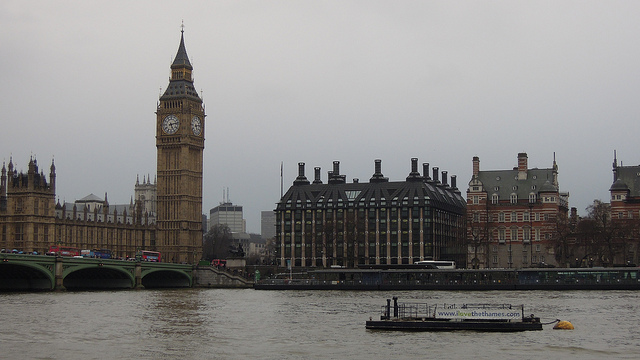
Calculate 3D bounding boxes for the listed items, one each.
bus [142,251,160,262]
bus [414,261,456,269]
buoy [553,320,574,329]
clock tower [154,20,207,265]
[{"bbox_3d":[-37.513,17.092,298.283,1.697,2.097,6.659,-3,-8,18],"label":"bus"},{"bbox_3d":[26.206,18.738,287.719,10.375,2.137,2.507,1,2,7],"label":"bus"},{"bbox_3d":[38.703,22.984,211.628,1.752,0.979,1.958,1,-2,23],"label":"buoy"},{"bbox_3d":[-32.947,-8.286,342.913,15.182,64.653,14.602,-2,-2,37],"label":"clock tower"}]
